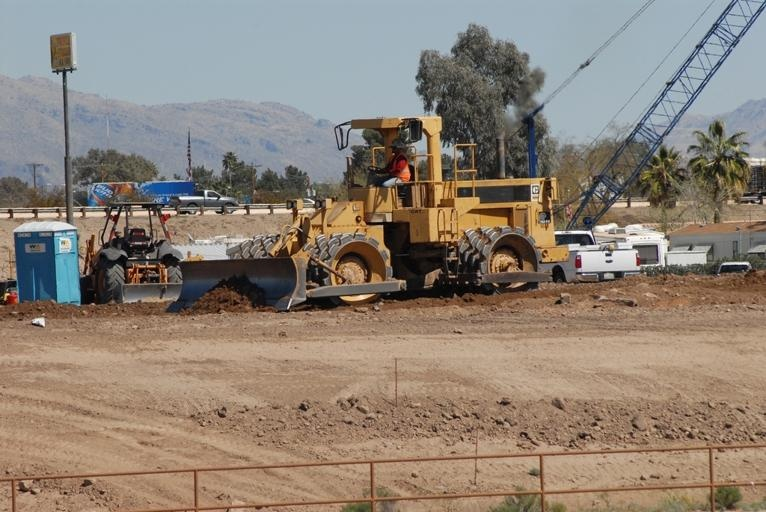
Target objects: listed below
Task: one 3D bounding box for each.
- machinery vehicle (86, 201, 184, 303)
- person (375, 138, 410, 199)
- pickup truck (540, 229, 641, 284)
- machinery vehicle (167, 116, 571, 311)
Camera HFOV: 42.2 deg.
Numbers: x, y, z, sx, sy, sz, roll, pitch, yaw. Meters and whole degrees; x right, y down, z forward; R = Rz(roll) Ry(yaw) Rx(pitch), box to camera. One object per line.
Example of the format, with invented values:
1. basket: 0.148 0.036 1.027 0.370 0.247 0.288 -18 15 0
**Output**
1. machinery vehicle: -7.324 -0.169 28.804 2.207 2.896 4.284 -2 7 -31
2. person: 0.352 -2.186 24.875 0.844 1.165 0.785 -15 12 9
3. pickup truck: 6.205 0.124 31.483 1.625 1.285 3.087 -2 4 -22
4. machinery vehicle: 0.062 -0.717 25.927 8.191 4.494 4.737 0 -1 -30
